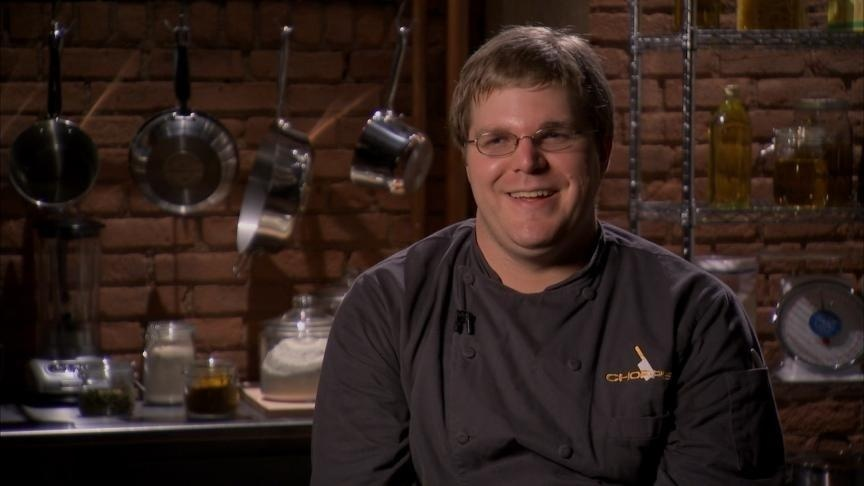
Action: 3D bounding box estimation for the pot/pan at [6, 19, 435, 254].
[{"bbox_3d":[-0.773,-0.288,3.664,1.511,0.819,0.342,2,3,2],"label":"pot/pan"}]

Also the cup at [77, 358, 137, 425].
[{"bbox_3d":[-1.090,0.506,3.917,0.175,0.193,0.101,-2,-1,6],"label":"cup"}]

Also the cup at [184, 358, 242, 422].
[{"bbox_3d":[-0.730,0.506,3.953,0.226,0.187,0.218,-1,-3,0],"label":"cup"}]
